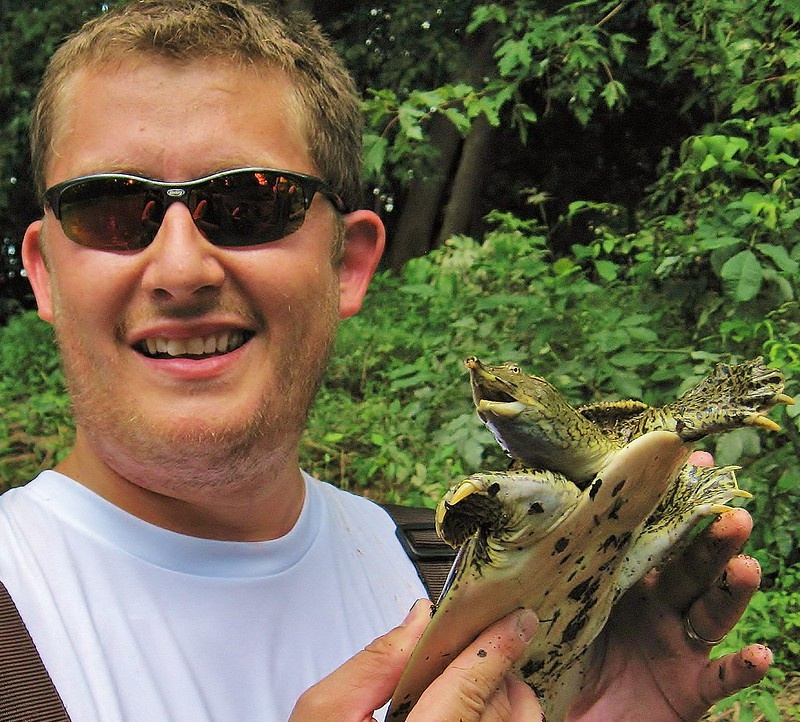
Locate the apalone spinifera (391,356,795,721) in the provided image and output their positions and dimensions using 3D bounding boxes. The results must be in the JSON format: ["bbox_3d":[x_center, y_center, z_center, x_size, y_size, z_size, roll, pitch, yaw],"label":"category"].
[{"bbox_3d":[0.265,0.328,2.224,0.741,0.787,0.274,-12,36,-29],"label":"apalone spinifera"}]
